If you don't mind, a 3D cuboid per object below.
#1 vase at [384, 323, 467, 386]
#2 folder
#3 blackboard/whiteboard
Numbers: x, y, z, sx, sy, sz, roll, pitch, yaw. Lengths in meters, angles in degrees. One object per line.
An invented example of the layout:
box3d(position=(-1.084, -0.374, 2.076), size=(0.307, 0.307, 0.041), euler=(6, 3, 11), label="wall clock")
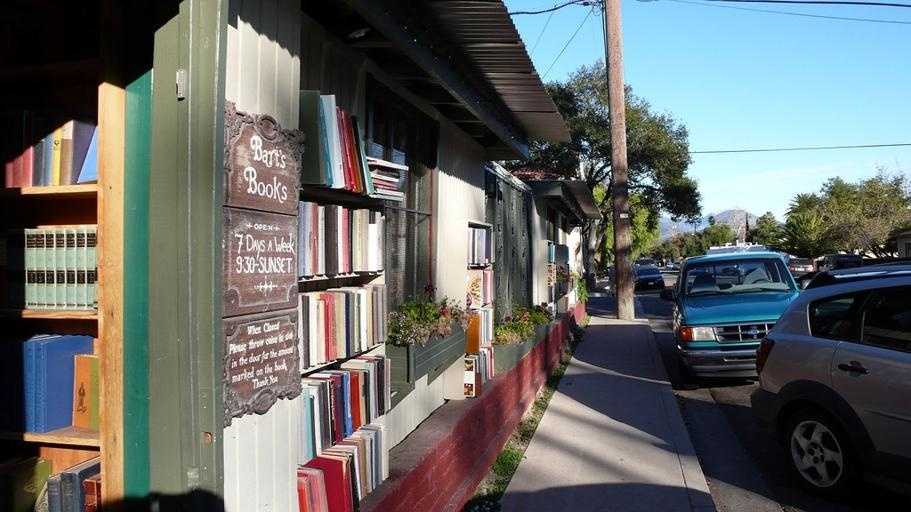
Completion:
box3d(position=(-0.307, 1.209, 8.171), size=(0.342, 0.691, 1.892), euler=(0, 6, 21), label="vase")
box3d(position=(-3.548, 1.141, 6.082), size=(0.395, 0.861, 0.402), euler=(2, 0, -7), label="folder")
box3d(position=(-1.603, 0.026, 5.573), size=(0.195, 2.545, 0.914), euler=(2, 7, 34), label="blackboard/whiteboard")
